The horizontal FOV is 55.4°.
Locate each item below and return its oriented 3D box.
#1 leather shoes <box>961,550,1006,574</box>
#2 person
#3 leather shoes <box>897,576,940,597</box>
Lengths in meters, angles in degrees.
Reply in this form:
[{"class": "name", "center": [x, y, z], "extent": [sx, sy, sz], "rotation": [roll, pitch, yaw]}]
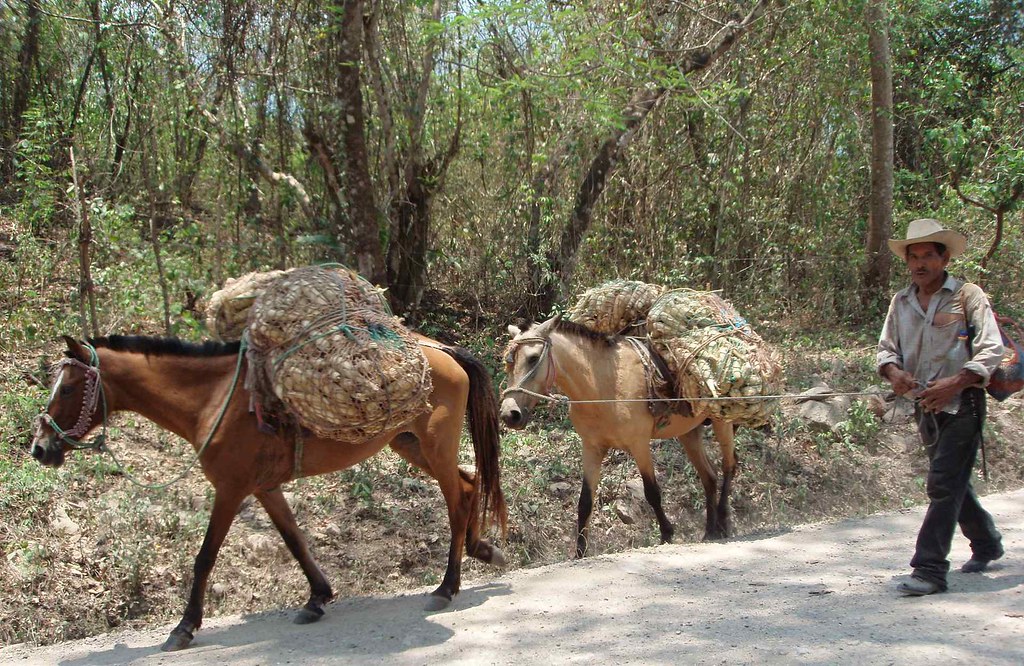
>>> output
[{"class": "leather shoes", "center": [4.958, 2.380, 10.169], "extent": [0.413, 0.157, 0.131], "rotation": [-18, 6, -11]}, {"class": "person", "center": [4.384, 0.704, 9.892], "extent": [1.158, 3.967, 0.695], "rotation": [-4, -1, 17]}, {"class": "leather shoes", "center": [4.043, 2.506, 9.670], "extent": [0.394, 0.149, 0.169], "rotation": [0, 9, 8]}]
